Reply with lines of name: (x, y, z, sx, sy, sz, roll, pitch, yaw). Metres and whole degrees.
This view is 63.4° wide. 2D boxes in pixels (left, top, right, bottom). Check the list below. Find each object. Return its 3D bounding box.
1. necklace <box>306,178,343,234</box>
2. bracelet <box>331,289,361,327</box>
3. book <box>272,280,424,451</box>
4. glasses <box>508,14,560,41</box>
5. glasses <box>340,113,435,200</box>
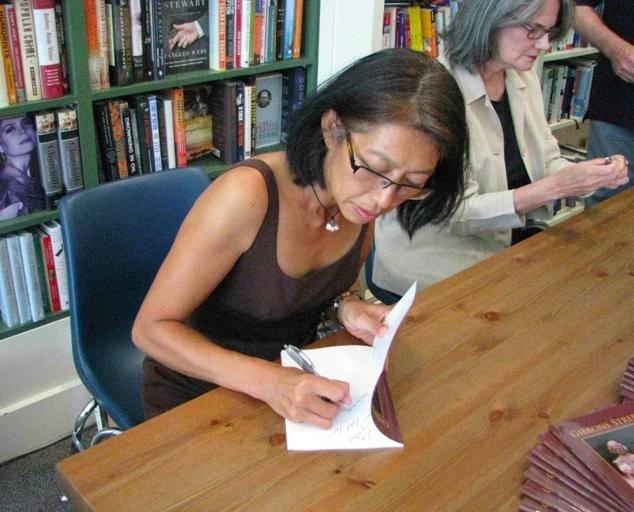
necklace: (0.030, -0.126, 1.273, 0.061, 0.107, 0.066, -31, -9, 6)
bracelet: (0.078, 0.142, 1.376, 0.072, 0.053, 0.094, 8, 9, -13)
book: (0.051, 0.243, 1.002, 0.295, 0.217, 0.326, 2, 33, -2)
glasses: (0.732, -0.753, 1.730, 0.133, 0.039, 0.129, -10, 31, -33)
glasses: (0.140, -0.213, 1.077, 0.152, 0.040, 0.150, 17, 34, -50)
